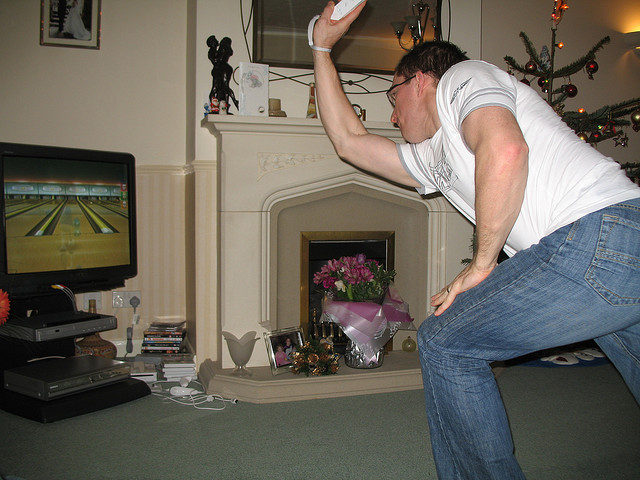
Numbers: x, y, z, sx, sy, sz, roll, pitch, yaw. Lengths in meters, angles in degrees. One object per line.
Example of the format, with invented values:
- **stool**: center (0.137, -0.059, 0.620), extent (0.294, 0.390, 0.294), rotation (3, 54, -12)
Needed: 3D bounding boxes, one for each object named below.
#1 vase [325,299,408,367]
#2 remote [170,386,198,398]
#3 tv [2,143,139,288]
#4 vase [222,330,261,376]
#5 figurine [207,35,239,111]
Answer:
- **vase**: center (0.322, 0.583, 3.171), extent (0.482, 0.379, 0.469), rotation (-2, -7, 12)
- **remote**: center (-0.872, 0.970, 3.096), extent (0.139, 0.036, 0.078), rotation (2, -8, -7)
- **tv**: center (-1.618, -0.145, 3.100), extent (0.089, 0.949, 0.910), rotation (-3, -4, 45)
- **vase**: center (-0.528, 0.761, 3.176), extent (0.253, 0.260, 0.232), rotation (-19, -26, 29)
- **figurine**: center (-0.668, -1.183, 3.384), extent (0.210, 0.498, 0.135), rotation (-3, 8, -24)
